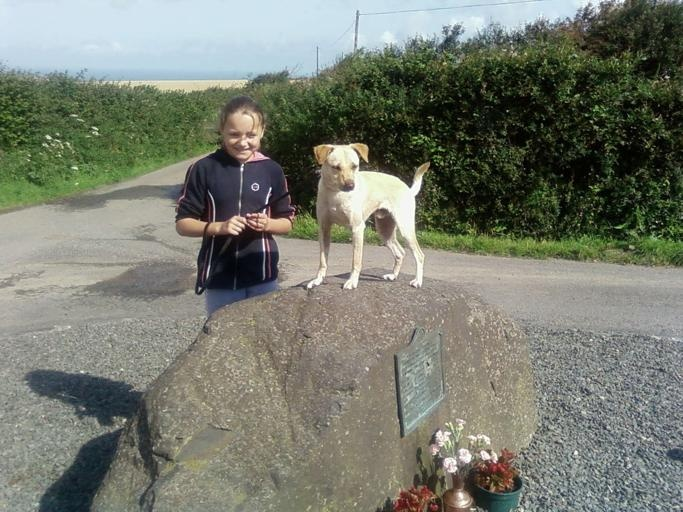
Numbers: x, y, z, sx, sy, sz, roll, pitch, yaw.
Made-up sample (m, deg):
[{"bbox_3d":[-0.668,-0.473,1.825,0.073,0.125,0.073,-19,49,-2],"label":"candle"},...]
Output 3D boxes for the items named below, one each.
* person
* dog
[{"bbox_3d":[-0.814,-0.365,3.737,0.925,1.751,0.612,-3,18,-20],"label":"person"},{"bbox_3d":[0.281,-0.371,4.505,1.453,1.282,0.657,-1,3,-40],"label":"dog"}]
